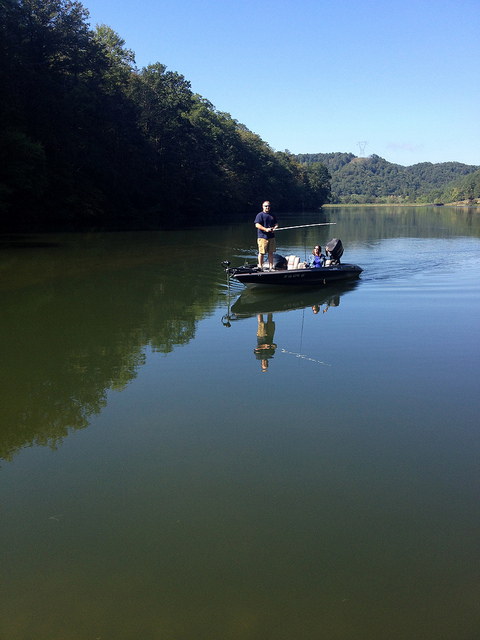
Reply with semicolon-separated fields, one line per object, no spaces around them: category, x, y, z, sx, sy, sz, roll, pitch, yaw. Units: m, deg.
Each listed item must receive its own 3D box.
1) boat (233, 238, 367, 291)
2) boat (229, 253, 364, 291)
boat;1.571;-1.236;15.318;3.842;1.537;1.514;-13;14;-34
boat;1.308;-1.103;14.859;3.073;0.854;1.212;-2;0;-40
